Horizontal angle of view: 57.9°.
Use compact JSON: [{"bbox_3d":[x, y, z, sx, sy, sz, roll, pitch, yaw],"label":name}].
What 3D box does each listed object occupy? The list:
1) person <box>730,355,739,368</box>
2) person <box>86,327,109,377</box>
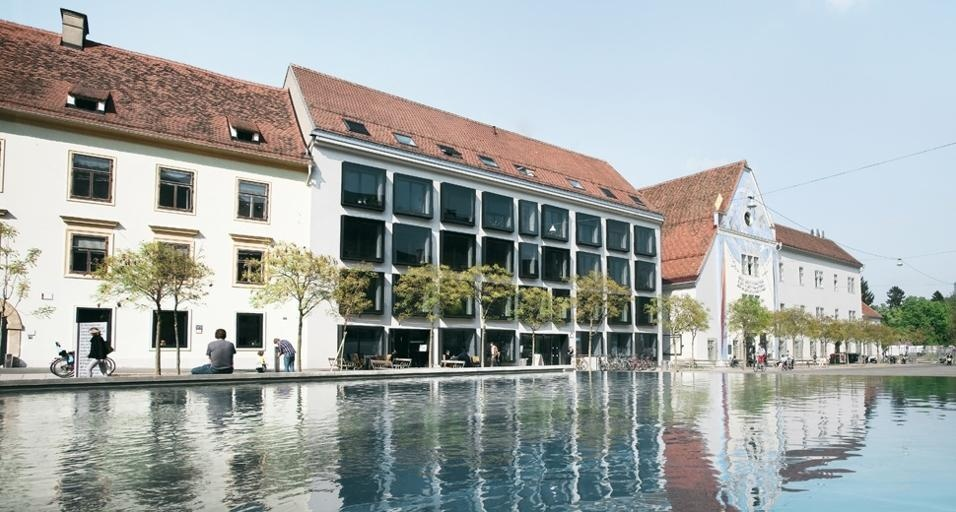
[{"bbox_3d":[25.181,10.454,85.082,1.176,1.013,2.313,-1,-13,12],"label":"person"},{"bbox_3d":[-23.281,5.924,53.013,1.164,2.823,0.889,-4,12,-22],"label":"person"}]
